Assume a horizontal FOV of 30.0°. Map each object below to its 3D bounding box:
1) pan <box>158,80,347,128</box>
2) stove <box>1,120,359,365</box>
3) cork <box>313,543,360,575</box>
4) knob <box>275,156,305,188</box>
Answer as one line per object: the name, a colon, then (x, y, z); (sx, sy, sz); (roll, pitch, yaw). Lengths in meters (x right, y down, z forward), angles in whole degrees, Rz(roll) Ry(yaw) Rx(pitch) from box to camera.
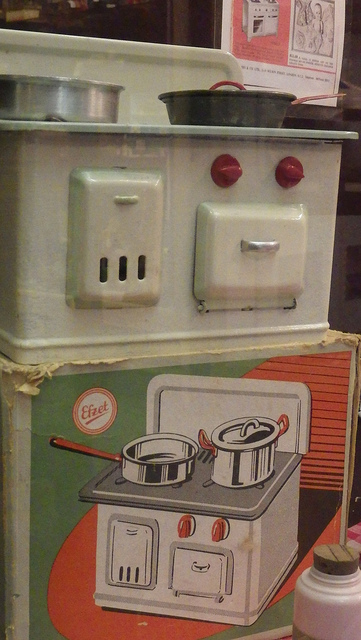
pan: (0.142, -0.334, 1.053); (0.367, 0.081, 0.213); (6, 14, 16)
stove: (0.134, -0.252, 1.382); (0.869, 0.313, 0.885); (-5, 20, -12)
cork: (0.190, 0.292, 0.819); (0.068, 0.024, 0.065); (1, 2, 4)
knob: (0.169, -0.230, 1.048); (0.047, 0.045, 0.018); (-25, 32, -23)
